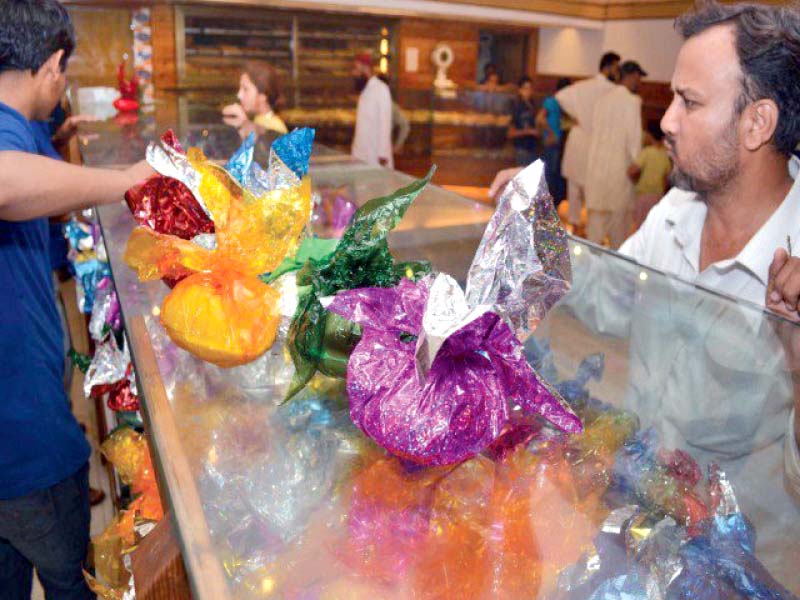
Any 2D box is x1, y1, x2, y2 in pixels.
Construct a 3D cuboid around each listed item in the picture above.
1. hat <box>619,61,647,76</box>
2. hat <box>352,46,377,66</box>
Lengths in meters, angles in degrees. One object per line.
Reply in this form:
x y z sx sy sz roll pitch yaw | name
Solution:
1.135 -1.114 3.056 0.088 0.051 0.064 -8 19 -19 | hat
-0.138 -0.953 2.493 0.090 0.063 0.036 8 26 6 | hat
